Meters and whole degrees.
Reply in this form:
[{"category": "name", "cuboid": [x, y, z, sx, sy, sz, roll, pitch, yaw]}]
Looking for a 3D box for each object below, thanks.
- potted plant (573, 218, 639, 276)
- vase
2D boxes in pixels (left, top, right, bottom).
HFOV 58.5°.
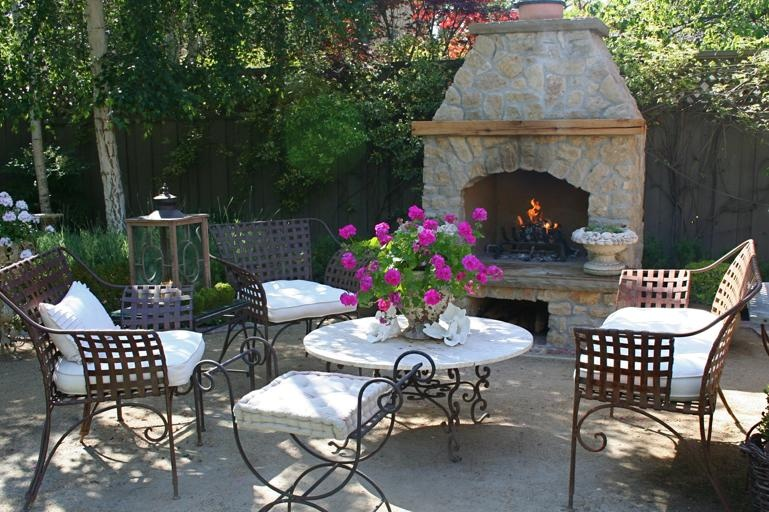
[{"category": "potted plant", "cuboid": [2.270, -0.095, 7.066, 0.569, 0.434, 0.574, -4, 6, -19]}, {"category": "vase", "cuboid": [0.280, 0.356, 5.192, 0.490, 0.389, 0.471, -1, 4, -5]}]
